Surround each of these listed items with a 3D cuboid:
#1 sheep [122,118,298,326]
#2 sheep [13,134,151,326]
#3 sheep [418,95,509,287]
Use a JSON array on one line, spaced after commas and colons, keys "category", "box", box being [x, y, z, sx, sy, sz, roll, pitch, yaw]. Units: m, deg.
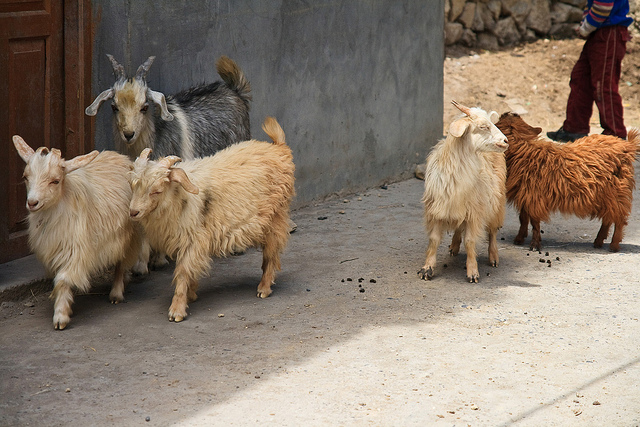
[{"category": "sheep", "box": [-1.078, 0.076, 6.463, 0.824, 1.391, 2.039, 11, 16, 32]}, {"category": "sheep", "box": [-2.248, 0.124, 6.438, 0.950, 1.468, 2.071, 8, 9, 3]}, {"category": "sheep", "box": [1.346, -0.200, 6.733, 0.746, 1.591, 0.695, 3, 14, 13]}]
